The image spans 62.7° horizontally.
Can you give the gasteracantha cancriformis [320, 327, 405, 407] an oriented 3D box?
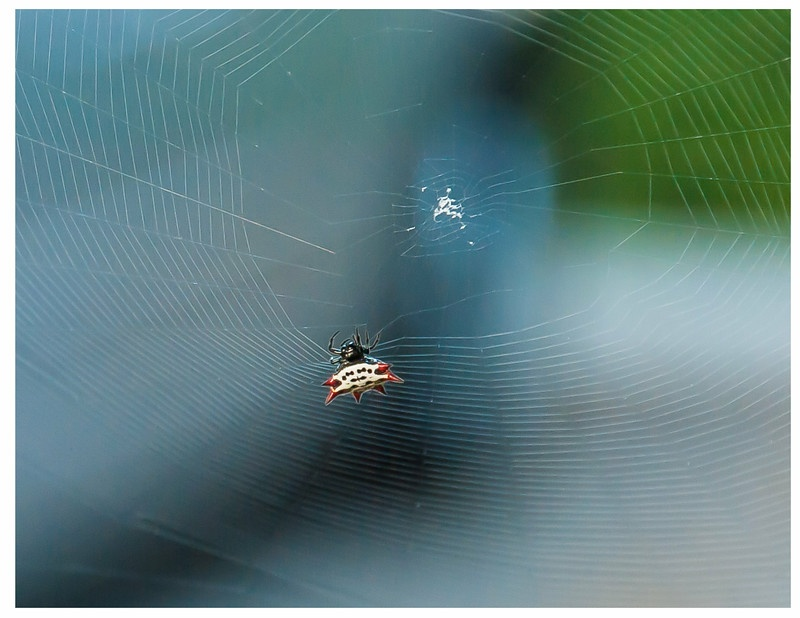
[{"bbox_3d":[-0.332,0.403,4.832,0.580,0.638,0.165,-14,-38,-15],"label":"gasteracantha cancriformis"}]
